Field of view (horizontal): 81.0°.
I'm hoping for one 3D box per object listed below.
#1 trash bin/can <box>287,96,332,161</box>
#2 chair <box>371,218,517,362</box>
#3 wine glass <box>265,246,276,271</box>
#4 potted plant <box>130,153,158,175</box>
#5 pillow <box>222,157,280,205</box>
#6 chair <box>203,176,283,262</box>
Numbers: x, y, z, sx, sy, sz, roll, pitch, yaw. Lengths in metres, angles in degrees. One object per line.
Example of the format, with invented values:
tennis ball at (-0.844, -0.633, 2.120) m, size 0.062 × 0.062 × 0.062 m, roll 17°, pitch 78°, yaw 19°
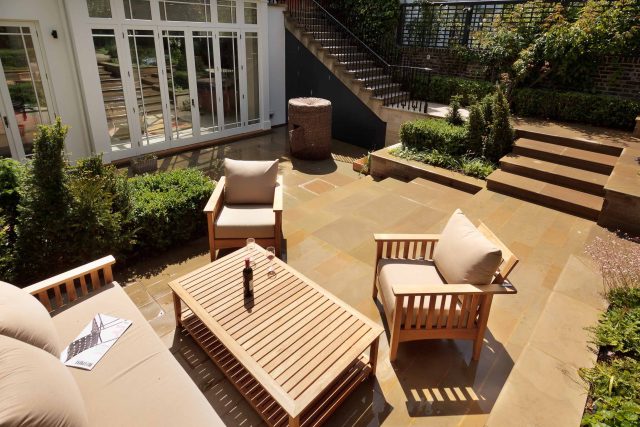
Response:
trash bin/can at (-0.295, -2.292, 10.243) m, size 1.336 × 1.609 × 1.392 m, roll 5°, pitch 24°, yaw 13°
chair at (1.448, 0.908, 4.959) m, size 1.398 × 1.245 × 1.603 m, roll -1°, pitch 21°, yaw 2°
wine glass at (-0.663, 0.608, 4.984) m, size 0.097 × 0.280 × 0.105 m, roll -20°, pitch 46°, yaw -22°
potted plant at (-4.156, -1.143, 8.829) m, size 0.628 × 0.341 × 0.454 m, roll -14°, pitch 30°, yaw -27°
pillow at (-1.127, -0.519, 6.157) m, size 0.866 × 0.778 × 0.331 m, roll -1°, pitch 21°, yaw -21°
chair at (-1.229, 0.077, 6.230) m, size 1.294 × 0.933 × 1.593 m, roll -5°, pitch 22°, yaw -22°
